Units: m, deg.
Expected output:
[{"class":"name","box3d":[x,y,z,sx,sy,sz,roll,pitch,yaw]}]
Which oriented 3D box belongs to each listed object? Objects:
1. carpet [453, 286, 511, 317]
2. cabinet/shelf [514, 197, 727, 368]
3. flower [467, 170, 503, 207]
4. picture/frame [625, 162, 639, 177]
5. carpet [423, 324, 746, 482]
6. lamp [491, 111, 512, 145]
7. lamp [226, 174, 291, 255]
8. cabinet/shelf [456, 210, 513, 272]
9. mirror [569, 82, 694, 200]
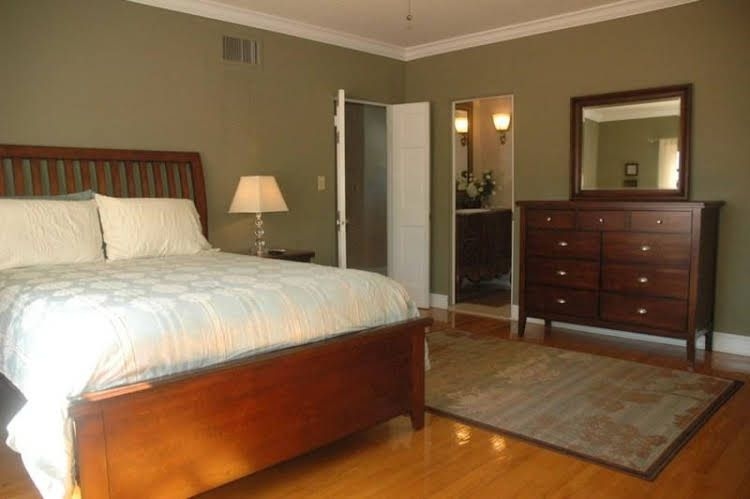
[{"class":"carpet","box3d":[1.469,0.711,6.990,0.765,0.108,1.467,2,12,14]},{"class":"cabinet/shelf","box3d":[2.487,0.212,5.319,1.817,1.432,0.815,4,9,41]},{"class":"flower","box3d":[1.663,-0.939,7.932,0.567,0.640,0.567,-3,3,19]},{"class":"picture/frame","box3d":[2.740,-0.855,5.422,0.164,0.167,0.015,3,6,41]},{"class":"carpet","box3d":[1.560,1.165,4.290,2.352,0.064,1.955,7,14,36]},{"class":"lamp","box3d":[1.978,-1.854,7.919,0.284,0.431,0.307,-13,9,-42]},{"class":"lamp","box3d":[-1.222,-0.432,5.446,0.534,0.742,0.535,9,25,4]},{"class":"cabinet/shelf","box3d":[1.541,-0.137,7.387,0.903,0.714,0.506,-5,7,-39]},{"class":"mirror","box3d":[2.698,-1.104,5.446,1.224,1.217,0.103,7,26,38]}]
